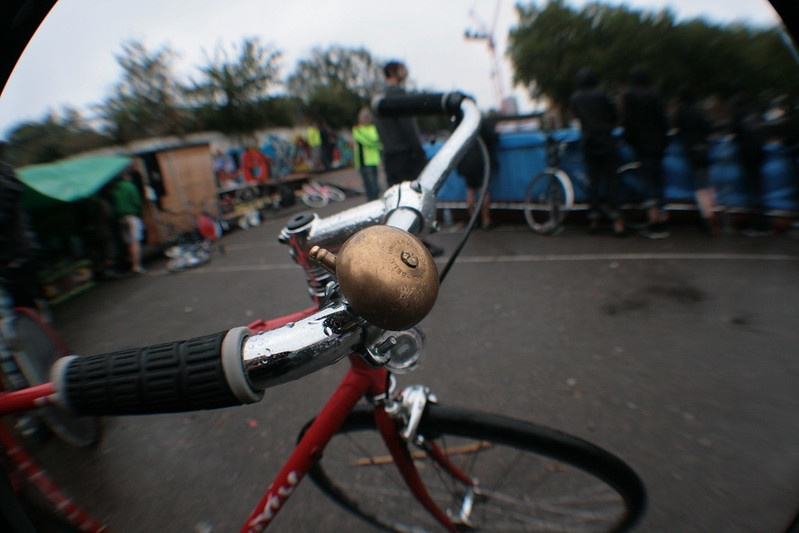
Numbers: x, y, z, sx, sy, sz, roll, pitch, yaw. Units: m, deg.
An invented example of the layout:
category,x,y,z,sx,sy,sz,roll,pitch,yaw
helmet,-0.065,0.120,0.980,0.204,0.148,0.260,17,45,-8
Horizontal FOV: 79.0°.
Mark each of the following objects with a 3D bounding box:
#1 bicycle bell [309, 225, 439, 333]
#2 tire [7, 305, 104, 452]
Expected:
category,x,y,z,sx,sy,sz,roll,pitch,yaw
bicycle bell,-0.046,0.040,0.949,0.171,0.194,0.097,-60,6,-23
tire,-0.760,0.252,1.130,0.245,0.275,0.067,-5,-10,4
